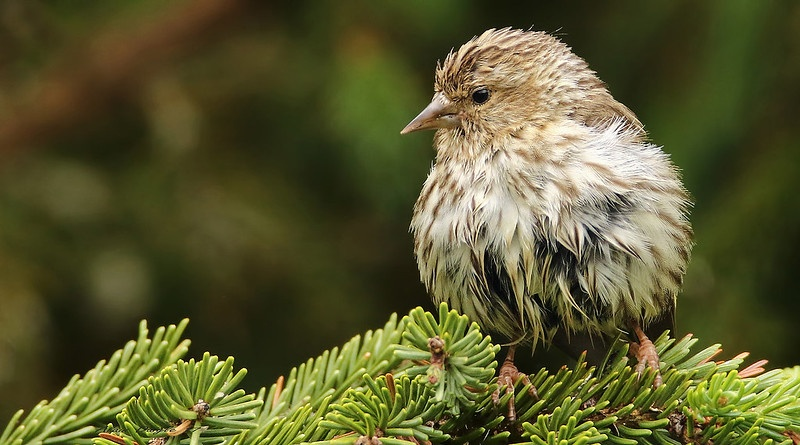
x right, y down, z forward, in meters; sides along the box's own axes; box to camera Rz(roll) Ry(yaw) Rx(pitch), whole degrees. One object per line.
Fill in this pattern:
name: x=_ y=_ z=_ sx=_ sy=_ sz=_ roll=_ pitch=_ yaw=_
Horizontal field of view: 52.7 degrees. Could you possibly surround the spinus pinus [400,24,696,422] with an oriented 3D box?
spinus pinus: x=0.786 y=-0.068 z=4.354 sx=1.124 sy=1.974 sz=1.207 roll=1 pitch=2 yaw=7
